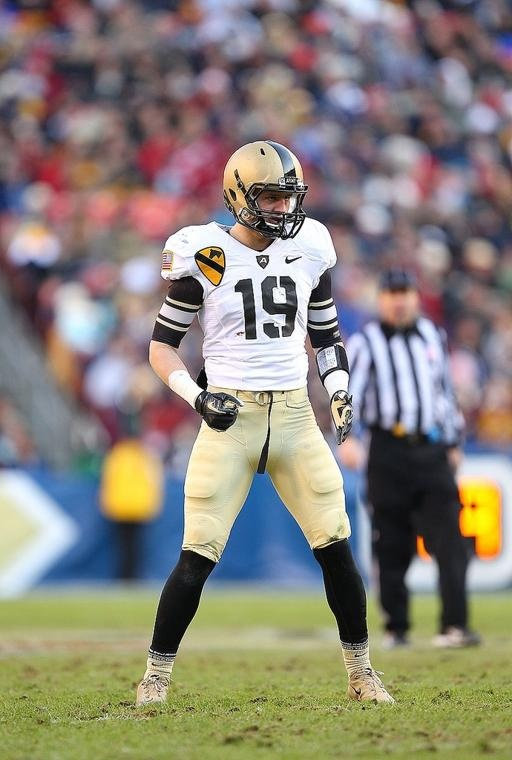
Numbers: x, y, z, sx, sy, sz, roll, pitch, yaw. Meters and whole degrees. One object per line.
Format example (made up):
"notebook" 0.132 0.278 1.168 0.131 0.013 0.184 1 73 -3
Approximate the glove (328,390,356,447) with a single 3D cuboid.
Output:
"glove" 0.254 0.115 2.685 0.072 0.145 0.058 -4 -12 -3

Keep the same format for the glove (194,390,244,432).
"glove" -0.106 0.088 2.471 0.134 0.084 0.064 20 33 26

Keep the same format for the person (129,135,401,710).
"person" 0.031 0.144 2.672 0.724 1.526 1.063 0 30 4

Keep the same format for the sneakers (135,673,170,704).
"sneakers" -0.289 0.886 2.522 0.093 0.081 0.119 -5 28 -6

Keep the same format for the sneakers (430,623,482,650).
"sneakers" 0.998 1.285 4.483 0.276 0.098 0.090 -5 -2 0

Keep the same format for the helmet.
"helmet" 0.013 -0.579 2.637 0.244 0.226 0.298 -2 5 -38
